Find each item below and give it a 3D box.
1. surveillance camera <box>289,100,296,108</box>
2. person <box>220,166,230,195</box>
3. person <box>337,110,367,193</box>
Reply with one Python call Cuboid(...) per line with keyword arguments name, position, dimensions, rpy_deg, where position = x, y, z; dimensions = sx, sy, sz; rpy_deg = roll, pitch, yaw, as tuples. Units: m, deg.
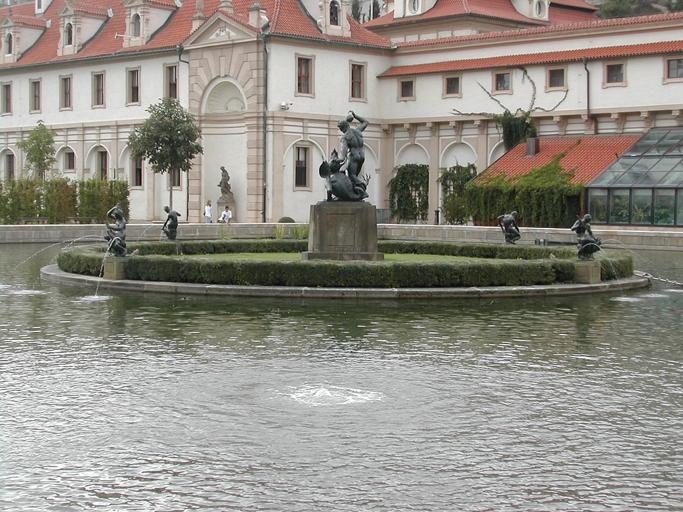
Cuboid(name="surveillance camera", position=(-2.100, -6.403, 52.301), dimensions=(0.219, 0.227, 0.411), rpy_deg=(-2, -4, -3))
Cuboid(name="person", position=(-5.069, -3.243, 53.588), dimensions=(0.498, 1.258, 0.987), rpy_deg=(0, 0, -5))
Cuboid(name="person", position=(0.316, -2.419, 29.124), dimensions=(0.605, 1.997, 0.932), rpy_deg=(0, 0, -9))
